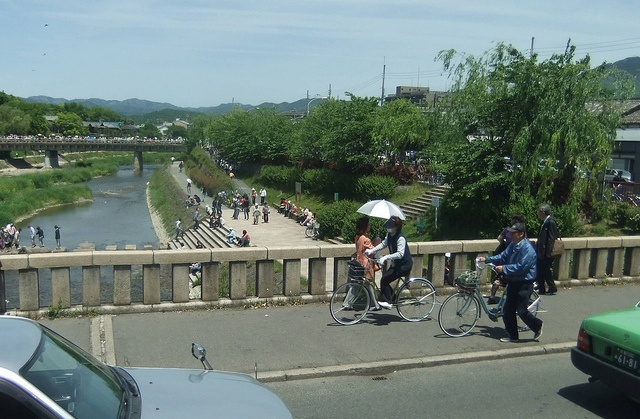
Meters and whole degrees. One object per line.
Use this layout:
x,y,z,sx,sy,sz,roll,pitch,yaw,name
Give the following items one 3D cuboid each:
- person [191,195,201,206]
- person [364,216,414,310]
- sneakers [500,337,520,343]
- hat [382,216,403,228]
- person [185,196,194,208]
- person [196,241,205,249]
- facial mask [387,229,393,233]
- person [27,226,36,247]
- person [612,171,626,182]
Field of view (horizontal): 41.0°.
-11.278,-0.895,78.088,0.650,0.713,1.092,1,14,-7,person
2.442,1.852,29.062,1.379,3.192,0.932,0,7,3,person
6.319,4.351,28.467,0.566,0.264,0.218,-1,6,5,sneakers
2.499,0.451,28.995,0.493,0.251,0.357,-4,7,3,hat
-12.044,-0.622,78.822,0.548,1.098,1.905,-3,12,-3,person
-8.019,2.408,57.537,0.258,0.400,0.958,-5,-14,-17,person
2.377,0.739,29.005,0.115,0.114,0.182,17,24,4,facial mask
-21.065,2.054,62.482,0.573,1.782,0.683,7,22,-2,person
17.407,-1.887,49.893,0.553,0.420,0.871,5,19,13,person
